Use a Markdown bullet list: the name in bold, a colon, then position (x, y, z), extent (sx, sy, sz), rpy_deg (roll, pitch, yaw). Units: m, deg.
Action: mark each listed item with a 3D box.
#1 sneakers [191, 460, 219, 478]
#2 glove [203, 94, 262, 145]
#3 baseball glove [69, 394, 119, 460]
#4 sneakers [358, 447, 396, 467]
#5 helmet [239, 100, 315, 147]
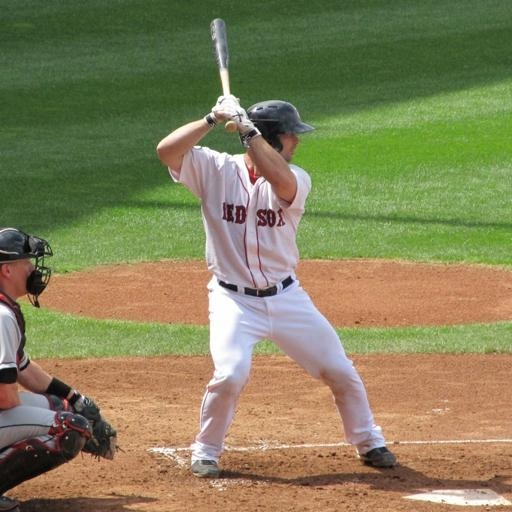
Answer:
- **sneakers**: position (-0.401, 1.666, 9.211), extent (0.224, 0.140, 0.108), rpy_deg (-1, 5, -6)
- **glove**: position (-0.158, -1.040, 9.125), extent (0.419, 0.412, 0.341), rpy_deg (2, 5, 20)
- **baseball glove**: position (-1.208, 1.343, 9.149), extent (0.340, 0.492, 0.227), rpy_deg (-22, 10, 2)
- **sneakers**: position (0.955, 1.617, 9.424), extent (0.322, 0.126, 0.123), rpy_deg (-2, 0, 28)
- **helmet**: position (0.167, -1.059, 9.367), extent (0.563, 0.279, 0.359), rpy_deg (7, 27, 19)
